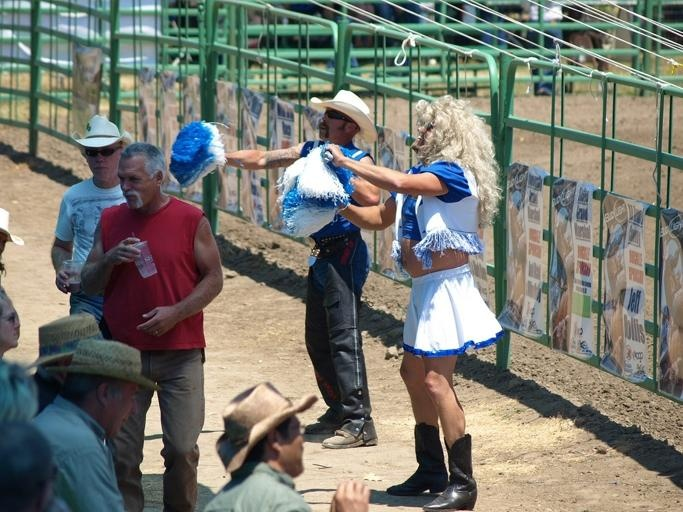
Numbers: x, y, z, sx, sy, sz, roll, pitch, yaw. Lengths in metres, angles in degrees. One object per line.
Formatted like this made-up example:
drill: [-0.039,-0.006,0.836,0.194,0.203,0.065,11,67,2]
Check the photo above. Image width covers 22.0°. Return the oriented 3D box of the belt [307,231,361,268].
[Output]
belt: [-0.026,-0.061,14.681,0.306,0.207,0.274,-6,-2,-16]

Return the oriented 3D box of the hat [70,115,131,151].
hat: [-1.974,-1.020,14.584,0.451,0.280,0.609,0,0,9]

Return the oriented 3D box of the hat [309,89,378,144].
hat: [0.022,-1.200,14.551,0.476,0.209,0.548,10,10,-13]

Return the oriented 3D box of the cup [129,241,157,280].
cup: [-1.452,0.033,13.187,0.180,0.279,0.110,0,9,-23]

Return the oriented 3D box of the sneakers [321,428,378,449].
sneakers: [0.095,1.520,14.630,0.409,0.190,0.177,2,-3,-15]

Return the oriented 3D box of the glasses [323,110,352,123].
glasses: [-0.017,-1.149,14.467,0.139,0.036,0.123,21,0,-18]
